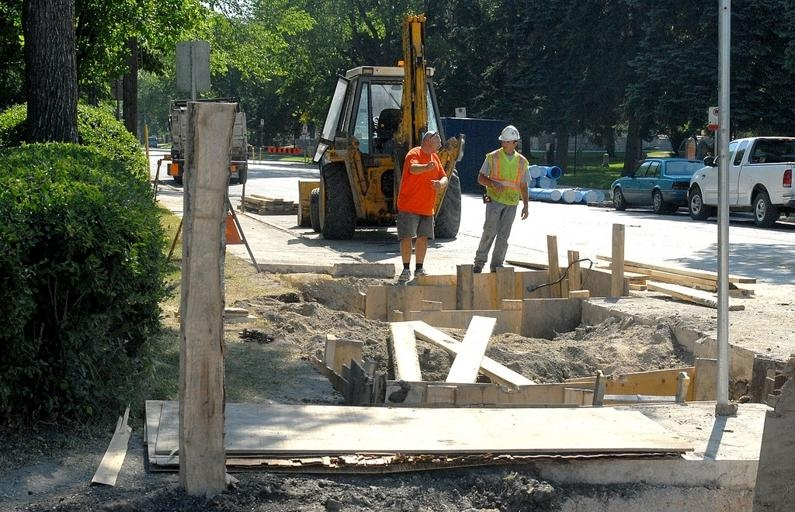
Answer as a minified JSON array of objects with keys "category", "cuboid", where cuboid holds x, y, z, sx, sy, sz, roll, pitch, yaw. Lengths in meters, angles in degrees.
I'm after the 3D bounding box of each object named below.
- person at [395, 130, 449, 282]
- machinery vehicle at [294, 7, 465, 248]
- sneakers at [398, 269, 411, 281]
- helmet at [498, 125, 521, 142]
[{"category":"person","cuboid":[0.387,-0.867,19.564,0.779,2.468,0.854,1,5,0]},{"category":"machinery vehicle","cuboid":[-0.297,-2.309,24.797,2.670,4.330,6.946,1,1,-14]},{"category":"sneakers","cuboid":[0.123,0.314,19.413,0.210,0.158,0.523,1,6,3]},{"category":"helmet","cuboid":[1.907,-2.047,19.608,0.303,0.276,0.455,9,6,17]}]
